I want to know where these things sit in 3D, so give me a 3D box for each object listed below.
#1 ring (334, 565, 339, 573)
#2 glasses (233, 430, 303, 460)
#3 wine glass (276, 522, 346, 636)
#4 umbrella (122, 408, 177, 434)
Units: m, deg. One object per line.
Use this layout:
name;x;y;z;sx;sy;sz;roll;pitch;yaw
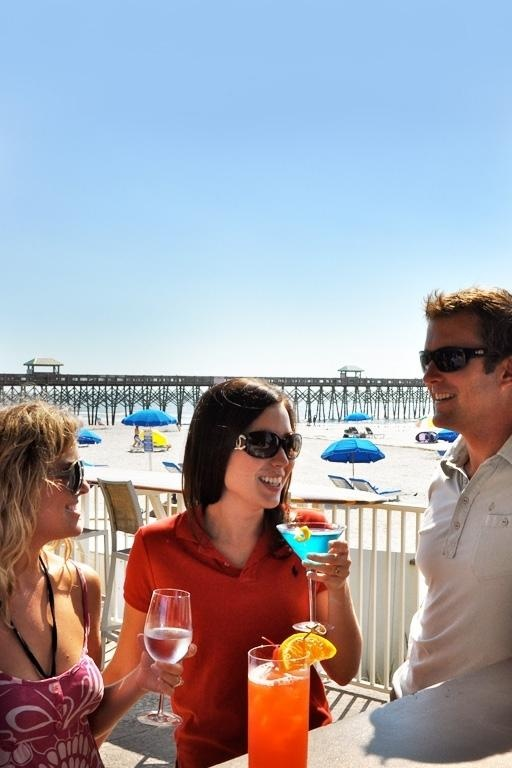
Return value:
ring;0.202;0.457;1.614;0.012;0.017;0.004;-1;-12;-1
glasses;0.055;0.169;1.798;0.212;0.086;0.090;2;-4;-40
wine glass;0.134;0.485;1.704;0.261;0.304;0.261;-1;-6;3
umbrella;-3.535;1.152;22.017;1.713;0.556;1.692;0;-1;-1
